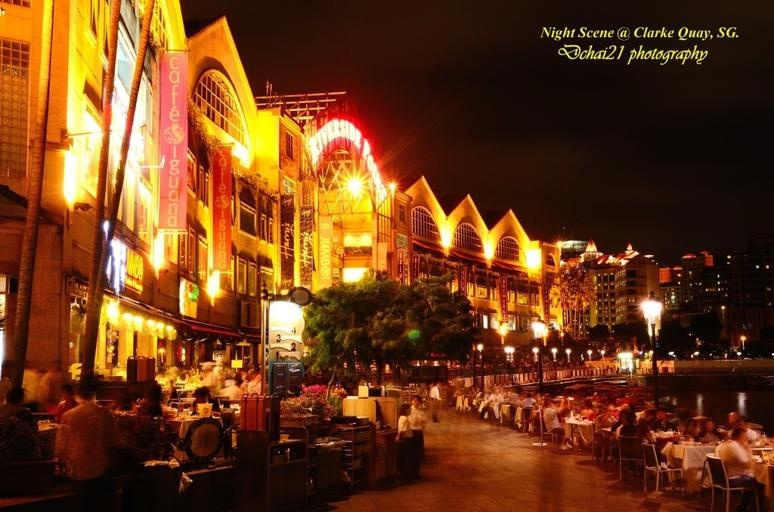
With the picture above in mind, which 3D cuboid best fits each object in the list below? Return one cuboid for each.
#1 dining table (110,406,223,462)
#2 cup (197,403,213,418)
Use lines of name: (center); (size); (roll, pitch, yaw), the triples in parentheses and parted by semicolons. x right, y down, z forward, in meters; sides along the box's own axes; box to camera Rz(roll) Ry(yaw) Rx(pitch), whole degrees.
dining table: (-4.635, 3.944, 14.326); (1.864, 0.979, 4.379); (3, -16, -5)
cup: (-4.971, 4.195, 18.131); (0.366, 0.393, 0.465); (0, -3, -15)
